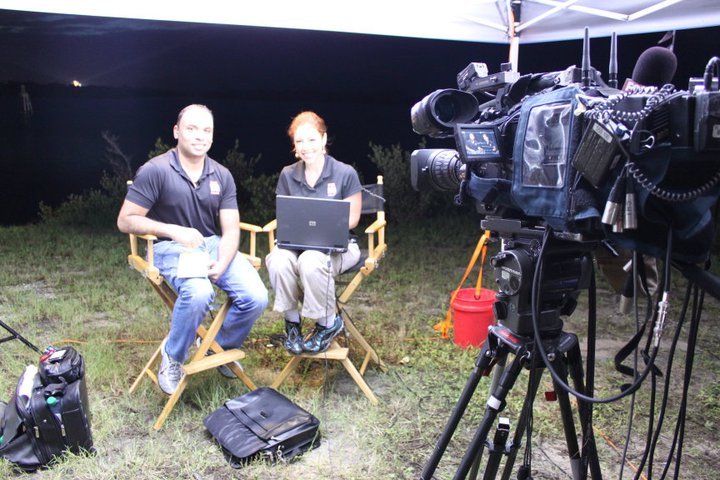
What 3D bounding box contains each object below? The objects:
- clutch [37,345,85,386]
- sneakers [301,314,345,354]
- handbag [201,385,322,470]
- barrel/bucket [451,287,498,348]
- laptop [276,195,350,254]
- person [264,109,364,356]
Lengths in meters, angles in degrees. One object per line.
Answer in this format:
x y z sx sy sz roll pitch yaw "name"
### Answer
-2.004 0.892 3.884 0.245 0.204 0.233 -24 17 21 "clutch"
-0.290 0.698 4.353 0.327 0.223 0.191 -6 20 -7 "sneakers"
-0.662 1.275 3.956 0.732 0.267 0.527 -13 22 -23 "handbag"
0.906 0.608 4.986 0.457 0.555 0.510 1 -2 8 "barrel/bucket"
-0.371 -0.034 4.365 0.567 0.394 0.445 7 -22 -13 "laptop"
-0.364 -0.062 4.511 0.642 1.758 0.903 -2 5 7 "person"
